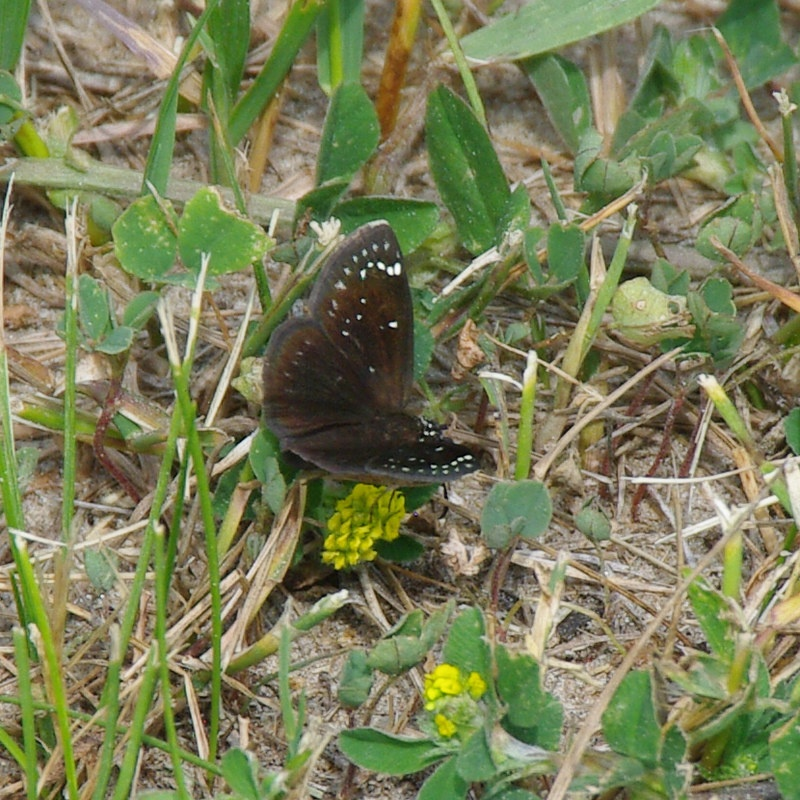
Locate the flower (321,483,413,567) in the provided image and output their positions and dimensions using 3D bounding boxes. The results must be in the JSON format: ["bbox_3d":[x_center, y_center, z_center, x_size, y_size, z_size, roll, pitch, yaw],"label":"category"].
[{"bbox_3d":[-0.050,0.177,1.361,0.101,0.056,0.133,33,59,16],"label":"flower"}]
